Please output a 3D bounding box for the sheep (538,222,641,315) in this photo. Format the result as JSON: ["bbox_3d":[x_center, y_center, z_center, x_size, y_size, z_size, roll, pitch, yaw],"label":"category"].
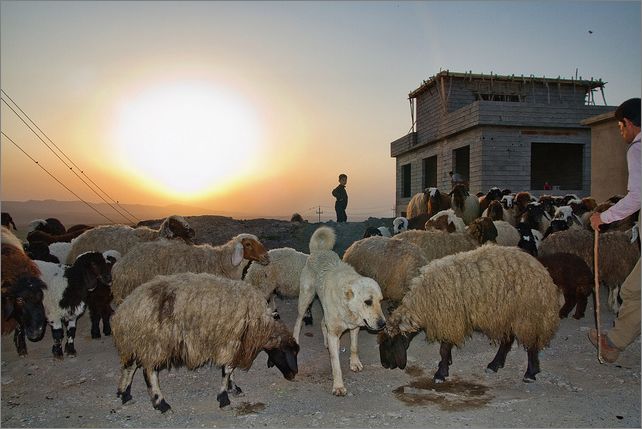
[{"bbox_3d":[5.067,0.792,9.950,2.549,1.948,0.984,3,6,16],"label":"sheep"}]

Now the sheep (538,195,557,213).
[{"bbox_3d":[7.295,-0.333,14.780,0.435,0.538,1.098,-3,-4,21],"label":"sheep"}]

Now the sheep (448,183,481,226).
[{"bbox_3d":[4.793,-0.320,15.194,0.864,1.474,2.167,-5,-6,23],"label":"sheep"}]

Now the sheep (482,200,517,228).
[{"bbox_3d":[5.039,-0.035,13.201,0.702,0.779,1.466,1,1,32],"label":"sheep"}]

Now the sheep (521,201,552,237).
[{"bbox_3d":[5.972,0.148,12.830,0.768,0.873,1.540,-9,-10,13],"label":"sheep"}]

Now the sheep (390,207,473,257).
[{"bbox_3d":[2.382,0.386,9.697,0.844,1.119,1.639,-1,1,-10],"label":"sheep"}]
